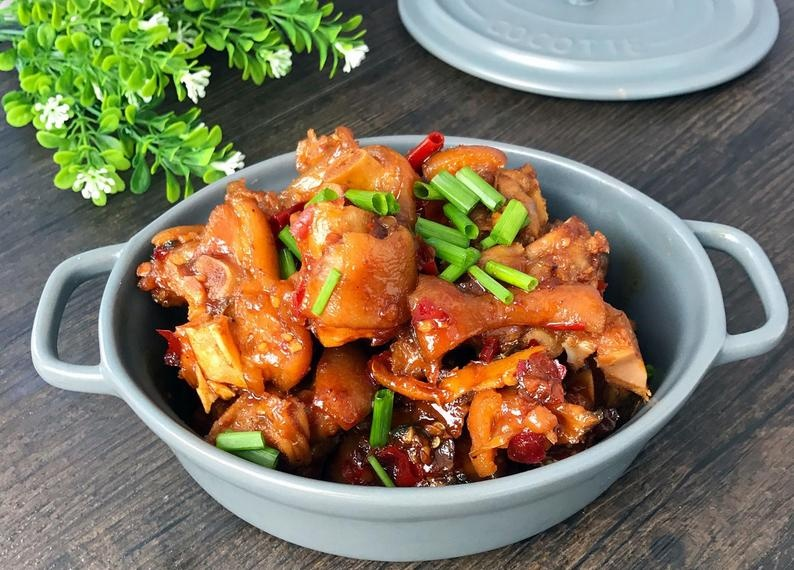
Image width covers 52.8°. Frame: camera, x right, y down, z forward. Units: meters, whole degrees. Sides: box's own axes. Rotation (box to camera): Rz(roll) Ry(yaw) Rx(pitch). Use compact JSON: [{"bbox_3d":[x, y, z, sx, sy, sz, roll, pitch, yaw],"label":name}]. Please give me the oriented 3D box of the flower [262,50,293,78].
[{"bbox_3d":[-0.351,-0.672,2.456,0.109,0.042,0.076,27,92,27],"label":"flower"}]
